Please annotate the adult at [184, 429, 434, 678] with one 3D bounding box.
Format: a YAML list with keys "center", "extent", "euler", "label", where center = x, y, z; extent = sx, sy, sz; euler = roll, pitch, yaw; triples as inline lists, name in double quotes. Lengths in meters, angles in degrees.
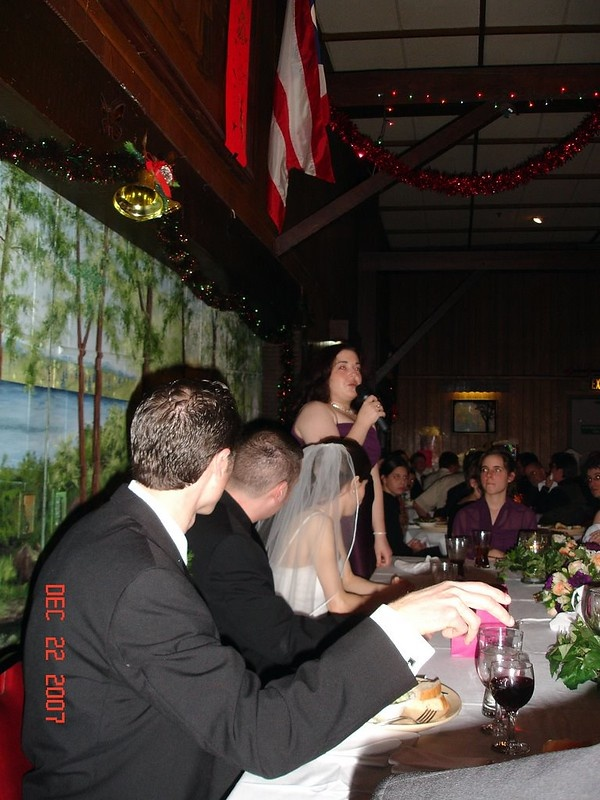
- center: [-0.076, 0.334, 1.561]
  extent: [0.500, 0.683, 0.470]
  euler: [-24, 20, -25]
  label: "adult"

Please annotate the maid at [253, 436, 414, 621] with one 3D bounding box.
- center: [0.138, 0.560, 2.054]
  extent: [0.459, 0.815, 0.433]
  euler: [-2, 1, -2]
  label: "maid"

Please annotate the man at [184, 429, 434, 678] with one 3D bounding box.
- center: [-0.071, 0.331, 1.558]
  extent: [0.500, 0.683, 0.470]
  euler: [-24, 20, -25]
  label: "man"

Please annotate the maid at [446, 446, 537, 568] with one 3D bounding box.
- center: [1.199, 0.679, 3.538]
  extent: [0.463, 0.728, 0.366]
  euler: [3, -20, 16]
  label: "maid"

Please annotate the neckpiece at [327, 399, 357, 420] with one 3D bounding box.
- center: [0.235, 0.062, 3.137]
  extent: [0.122, 0.049, 0.090]
  euler: [26, 7, -38]
  label: "neckpiece"
